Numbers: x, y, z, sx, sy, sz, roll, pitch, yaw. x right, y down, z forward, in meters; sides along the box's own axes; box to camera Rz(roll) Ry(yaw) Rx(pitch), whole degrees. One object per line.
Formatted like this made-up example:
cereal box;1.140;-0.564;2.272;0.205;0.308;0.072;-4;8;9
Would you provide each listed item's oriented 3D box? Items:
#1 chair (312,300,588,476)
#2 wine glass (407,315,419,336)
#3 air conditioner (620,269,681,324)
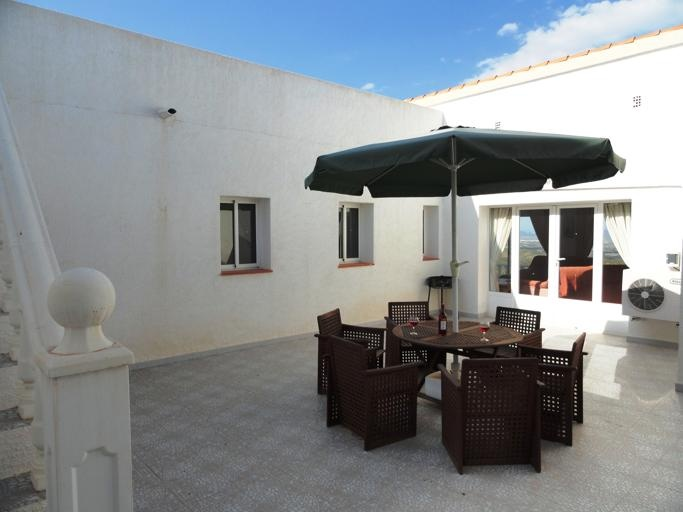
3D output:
chair;1.170;1.266;5.306;2.307;0.987;1.491;4;11;22
wine glass;0.810;0.779;5.993;0.144;0.234;0.147;0;-2;-38
air conditioner;4.589;0.586;7.983;0.743;0.814;0.511;6;12;29
